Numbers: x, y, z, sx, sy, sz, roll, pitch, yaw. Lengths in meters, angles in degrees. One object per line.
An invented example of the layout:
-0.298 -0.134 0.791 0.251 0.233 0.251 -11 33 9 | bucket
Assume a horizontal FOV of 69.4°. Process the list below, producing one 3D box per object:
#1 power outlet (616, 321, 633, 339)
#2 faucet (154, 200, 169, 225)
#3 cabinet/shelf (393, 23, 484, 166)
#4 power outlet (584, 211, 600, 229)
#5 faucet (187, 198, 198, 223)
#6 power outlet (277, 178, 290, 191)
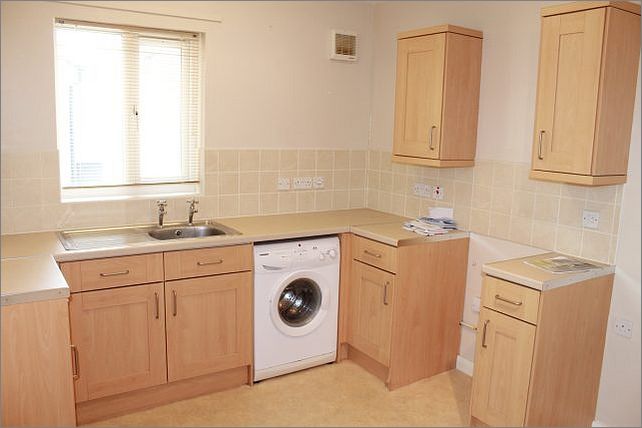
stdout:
2.073 0.789 3.166 0.017 0.125 0.120 -7 13 -36 | power outlet
-1.287 -0.012 3.750 0.086 0.199 0.137 -3 11 -11 | faucet
0.914 -0.933 3.708 0.665 1.073 0.348 2 12 16 | cabinet/shelf
1.890 0.035 3.237 0.017 0.129 0.112 -4 11 -38 | power outlet
-1.059 -0.027 3.848 0.091 0.201 0.206 -4 11 -14 | faucet
-0.351 -0.282 4.259 0.116 0.105 0.058 -3 7 -33 | power outlet
